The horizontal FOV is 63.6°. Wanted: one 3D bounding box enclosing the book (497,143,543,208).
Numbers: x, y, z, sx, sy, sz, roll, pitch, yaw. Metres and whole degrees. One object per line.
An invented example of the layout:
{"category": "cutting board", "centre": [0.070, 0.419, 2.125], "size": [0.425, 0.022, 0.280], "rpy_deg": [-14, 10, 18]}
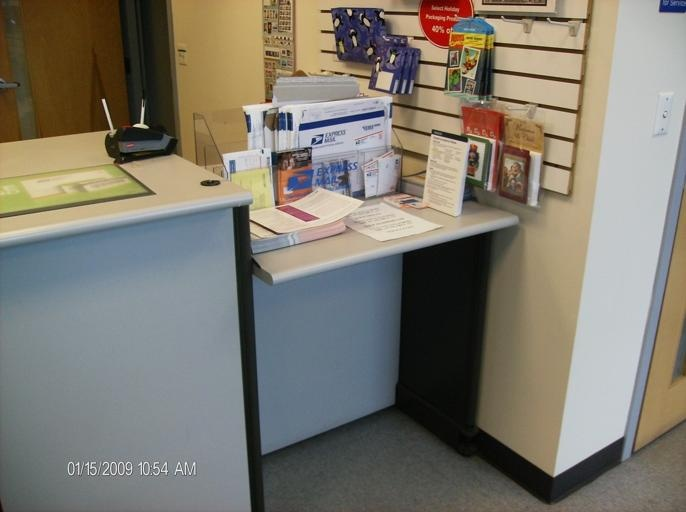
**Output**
{"category": "book", "centre": [0.652, -0.307, 2.032], "size": [0.027, 0.198, 0.166], "rpy_deg": [-19, 34, -31]}

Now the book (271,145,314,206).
{"category": "book", "centre": [-0.196, -0.305, 2.073], "size": [0.174, 0.180, 0.061], "rpy_deg": [-19, 28, -37]}

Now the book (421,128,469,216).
{"category": "book", "centre": [0.401, -0.317, 2.142], "size": [0.036, 0.374, 0.265], "rpy_deg": [-1, 15, -35]}
